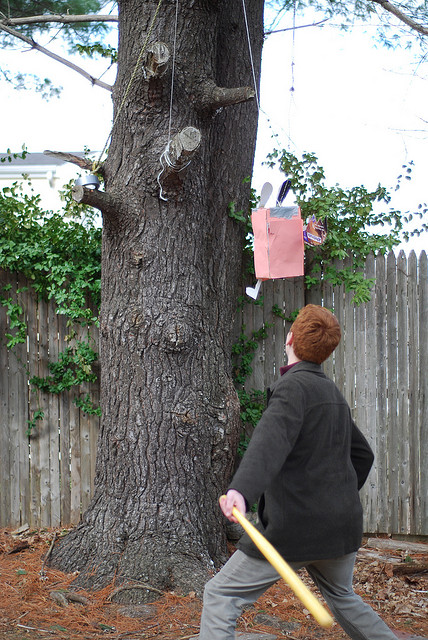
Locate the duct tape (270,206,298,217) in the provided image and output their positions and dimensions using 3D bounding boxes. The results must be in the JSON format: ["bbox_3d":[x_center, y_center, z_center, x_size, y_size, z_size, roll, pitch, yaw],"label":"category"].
[{"bbox_3d":[0.439,-0.665,7.053,0.195,0.073,0.052,-2,14,-33],"label":"duct tape"}]

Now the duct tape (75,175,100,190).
[{"bbox_3d":[-0.847,-0.885,7.587,0.114,0.053,0.117,-6,-6,42],"label":"duct tape"}]
